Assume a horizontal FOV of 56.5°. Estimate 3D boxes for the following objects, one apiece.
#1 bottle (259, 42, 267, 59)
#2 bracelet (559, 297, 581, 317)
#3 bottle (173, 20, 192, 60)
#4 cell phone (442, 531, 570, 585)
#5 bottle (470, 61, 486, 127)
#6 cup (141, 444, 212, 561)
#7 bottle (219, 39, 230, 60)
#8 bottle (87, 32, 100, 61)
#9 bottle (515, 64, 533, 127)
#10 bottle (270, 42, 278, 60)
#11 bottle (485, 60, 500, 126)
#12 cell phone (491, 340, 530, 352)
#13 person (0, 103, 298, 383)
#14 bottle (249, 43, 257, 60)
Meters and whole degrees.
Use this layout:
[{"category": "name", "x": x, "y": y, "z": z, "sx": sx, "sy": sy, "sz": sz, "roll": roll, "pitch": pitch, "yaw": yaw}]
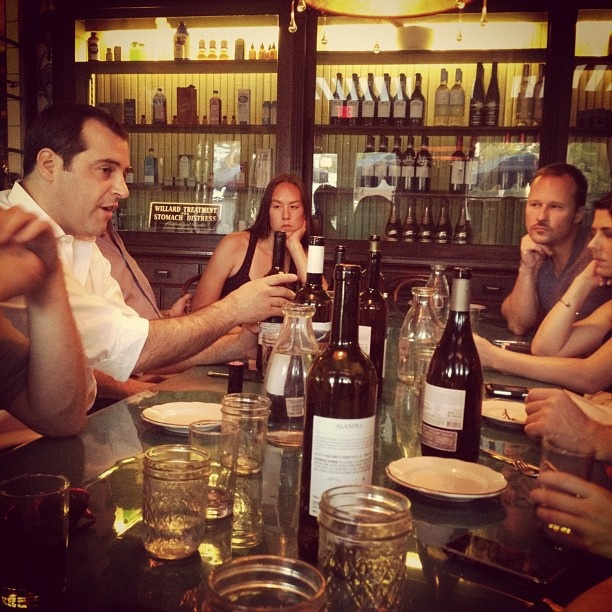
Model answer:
[{"category": "bottle", "x": -0.301, "y": -1.783, "z": 3.941, "sx": 0.075, "sy": 0.103, "sz": 0.014, "roll": 6, "pitch": 10, "yaw": 22}, {"category": "bracelet", "x": 0.956, "y": -0.001, "z": 2.058, "sx": 0.019, "sy": 0.020, "sz": 0.074, "roll": 44, "pitch": 58, "yaw": 14}, {"category": "bottle", "x": -0.890, "y": -1.893, "z": 4.040, "sx": 0.107, "sy": 0.246, "sz": 0.064, "roll": 2, "pitch": 9, "yaw": -3}, {"category": "cell phone", "x": 0.218, "y": 0.270, "z": 0.619, "sx": 0.113, "sy": 0.019, "sz": 0.084, "roll": 10, "pitch": 12, "yaw": 37}, {"category": "bottle", "x": 1.173, "y": -1.443, "z": 3.848, "sx": 0.105, "sy": 0.400, "sz": 0.048, "roll": 5, "pitch": 10, "yaw": 17}, {"category": "cup", "x": -0.139, "y": 0.214, "z": 0.611, "sx": 0.070, "sy": 0.094, "sz": 0.063, "roll": 0, "pitch": 10, "yaw": -16}, {"category": "bottle", "x": -0.582, "y": -1.828, "z": 4.022, "sx": 0.071, "sy": 0.129, "sz": 0.018, "roll": 5, "pitch": 10, "yaw": 17}, {"category": "bottle", "x": -1.538, "y": -1.880, "z": 4.087, "sx": 0.079, "sy": 0.208, "sz": 0.066, "roll": -1, "pitch": 10, "yaw": -21}, {"category": "bottle", "x": 1.455, "y": -1.405, "z": 3.752, "sx": 0.108, "sy": 0.388, "sz": 0.061, "roll": 5, "pitch": 10, "yaw": 17}, {"category": "bottle", "x": -0.226, "y": -1.756, "z": 3.898, "sx": 0.048, "sy": 0.124, "sz": 0.074, "roll": 1, "pitch": 9, "yaw": -7}, {"category": "bottle", "x": 1.270, "y": -1.438, "z": 3.831, "sx": 0.098, "sy": 0.401, "sz": 0.039, "roll": 5, "pitch": 10, "yaw": 17}, {"category": "cell phone", "x": 0.721, "y": 0.140, "z": 2.007, "sx": 0.147, "sy": 0.042, "sz": 0.034, "roll": 4, "pitch": 16, "yaw": -24}, {"category": "person", "x": -0.471, "y": -0.217, "z": 1.767, "sx": 0.918, "sy": 0.695, "sz": 0.700, "roll": 1, "pitch": 9, "yaw": 0}, {"category": "bottle", "x": -0.371, "y": -1.793, "z": 3.965, "sx": 0.059, "sy": 0.102, "sz": 0.017, "roll": 4, "pitch": 9, "yaw": 8}]
